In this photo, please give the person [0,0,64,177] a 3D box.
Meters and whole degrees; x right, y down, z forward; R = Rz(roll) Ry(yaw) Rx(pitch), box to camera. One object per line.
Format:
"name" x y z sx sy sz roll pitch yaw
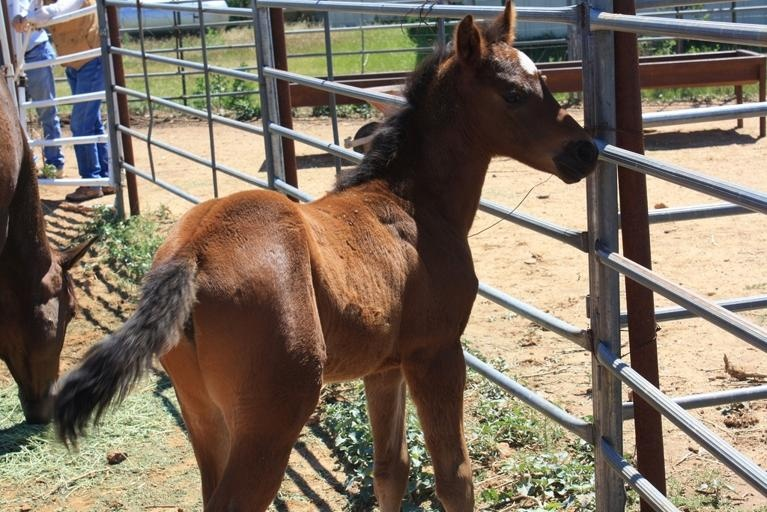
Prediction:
"person" -3.882 -1.764 9.159 0.528 2.418 1.354 -2 -17 -18
